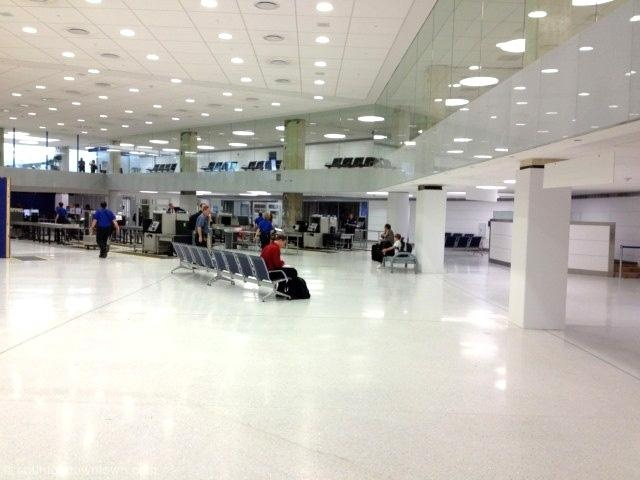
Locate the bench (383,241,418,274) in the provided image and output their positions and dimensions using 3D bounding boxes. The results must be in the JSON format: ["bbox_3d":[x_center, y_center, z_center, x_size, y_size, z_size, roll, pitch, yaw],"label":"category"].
[{"bbox_3d":[3.016,0.480,17.627,0.863,0.984,1.486,2,14,10],"label":"bench"}]

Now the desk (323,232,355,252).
[{"bbox_3d":[1.029,0.017,25.657,0.919,0.914,2.391,5,7,26],"label":"desk"}]

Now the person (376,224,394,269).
[{"bbox_3d":[2.523,0.260,19.254,0.683,0.669,1.952,16,31,9],"label":"person"}]

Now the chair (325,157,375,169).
[{"bbox_3d":[1.359,-3.401,21.635,0.412,0.453,2.684,-4,9,-43],"label":"chair"}]

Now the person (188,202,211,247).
[{"bbox_3d":[-3.670,-0.446,15.128,0.509,1.307,2.055,0,7,-14],"label":"person"}]

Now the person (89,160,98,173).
[{"bbox_3d":[-14.442,-4.702,31.560,0.124,0.831,0.479,5,7,25],"label":"person"}]

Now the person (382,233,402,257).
[{"bbox_3d":[2.572,0.205,17.534,0.703,0.938,1.266,3,7,9],"label":"person"}]

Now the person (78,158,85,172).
[{"bbox_3d":[-14.919,-4.685,30.931,0.154,0.823,0.475,5,7,24],"label":"person"}]
